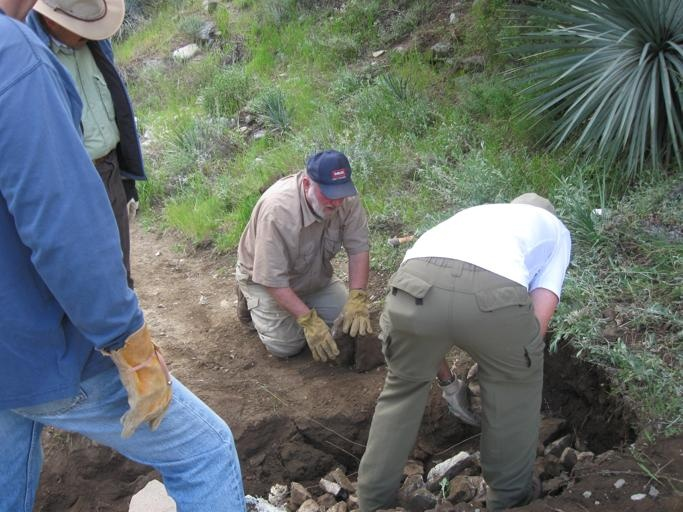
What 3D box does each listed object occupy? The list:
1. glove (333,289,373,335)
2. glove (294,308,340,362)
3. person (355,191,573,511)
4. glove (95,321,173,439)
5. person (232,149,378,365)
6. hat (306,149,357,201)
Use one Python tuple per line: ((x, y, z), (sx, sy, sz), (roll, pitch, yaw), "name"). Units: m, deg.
((0.095, 0.426, 5.008), (0.219, 0.123, 0.362), (-2, 58, 8), "glove")
((-0.167, 0.599, 5.046), (0.226, 0.439, 0.101), (-28, -1, 3), "glove")
((0.724, 0.607, 4.026), (1.075, 1.542, 1.180), (6, 28, 17), "person")
((-0.995, 0.536, 3.162), (0.268, 0.646, 0.241), (-1, 38, 18), "glove")
((-0.249, 0.079, 5.245), (0.633, 1.499, 1.212), (-22, 57, -25), "person")
((-0.061, -0.603, 4.735), (0.289, 0.236, 0.452), (-11, 38, -31), "hat")
